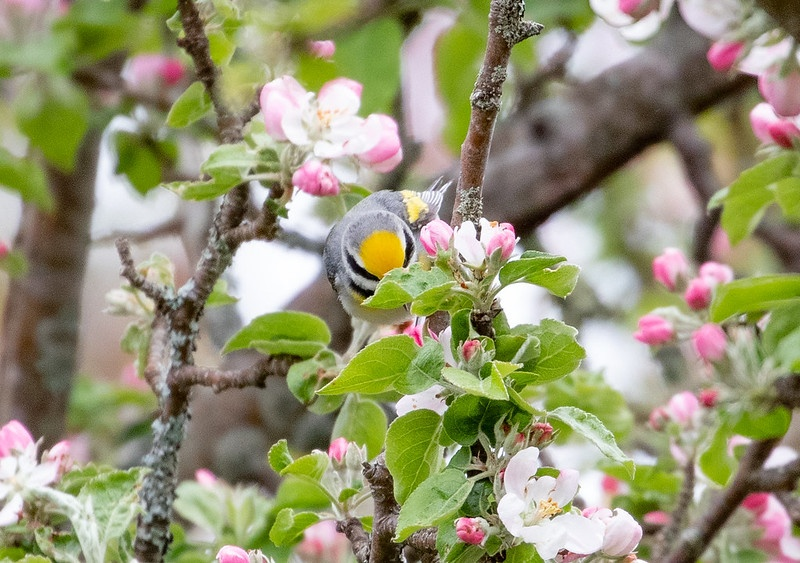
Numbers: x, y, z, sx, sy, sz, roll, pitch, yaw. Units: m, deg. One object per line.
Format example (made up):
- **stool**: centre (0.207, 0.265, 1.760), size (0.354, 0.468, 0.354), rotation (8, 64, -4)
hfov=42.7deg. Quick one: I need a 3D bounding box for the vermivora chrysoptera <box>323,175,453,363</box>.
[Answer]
- **vermivora chrysoptera**: centre (0.026, -0.126, 2.793), size (0.205, 0.615, 0.345), rotation (5, -29, 18)
